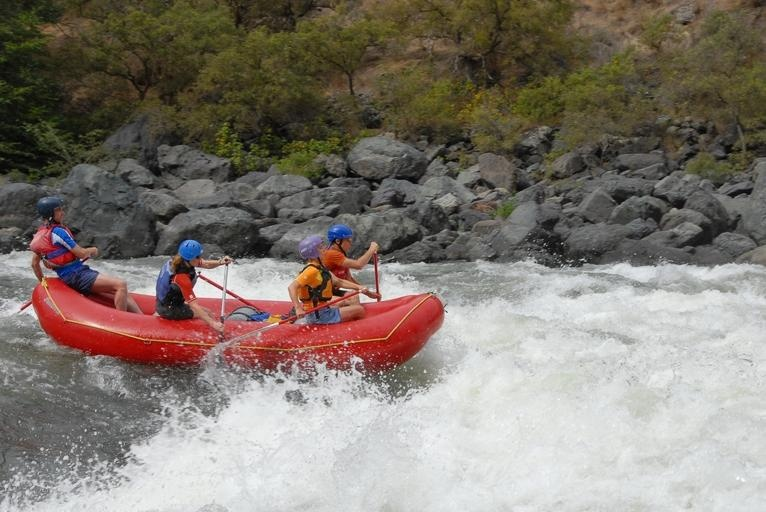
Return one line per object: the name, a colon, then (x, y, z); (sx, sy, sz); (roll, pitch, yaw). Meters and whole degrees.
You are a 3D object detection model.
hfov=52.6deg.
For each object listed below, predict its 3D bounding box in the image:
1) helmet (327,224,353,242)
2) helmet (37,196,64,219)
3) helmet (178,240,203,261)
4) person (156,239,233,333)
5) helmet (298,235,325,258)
helmet: (-0.774, -0.435, 14.030); (0.454, 0.279, 0.303); (-10, 10, 1)
helmet: (-6.129, -0.913, 14.170); (0.392, 0.406, 0.458); (-4, 36, -17)
helmet: (-3.378, -0.108, 13.520); (0.333, 0.304, 0.284); (12, 35, 5)
person: (-3.531, 0.611, 14.542); (1.164, 1.639, 1.211); (-2, 41, -31)
helmet: (-1.262, -0.153, 13.639); (0.385, 0.403, 0.322); (15, 6, -3)
